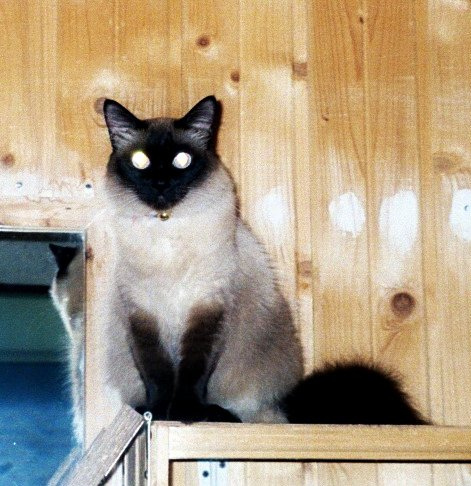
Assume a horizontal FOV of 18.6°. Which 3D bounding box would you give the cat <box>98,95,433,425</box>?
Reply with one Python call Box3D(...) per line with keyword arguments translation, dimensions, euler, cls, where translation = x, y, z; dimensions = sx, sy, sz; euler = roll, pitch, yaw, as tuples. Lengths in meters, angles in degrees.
Box3D(translation=(-0.014, 0.098, 3.392), dimensions=(0.351, 0.719, 0.793), euler=(-9, -17, 37), cls="cat")
